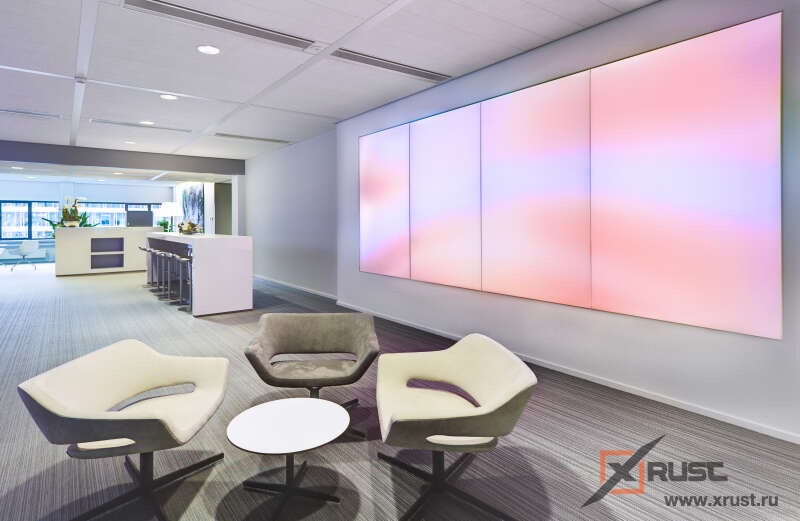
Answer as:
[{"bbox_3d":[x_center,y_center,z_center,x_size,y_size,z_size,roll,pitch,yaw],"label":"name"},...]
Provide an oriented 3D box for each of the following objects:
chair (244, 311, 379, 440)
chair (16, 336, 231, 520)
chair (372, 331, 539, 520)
[{"bbox_3d":[-0.884,1.020,4.793,1.418,1.143,1.130,-1,-9,-7],"label":"chair"},{"bbox_3d":[-2.244,1.260,3.972,1.397,1.426,1.640,-2,2,3],"label":"chair"},{"bbox_3d":[0.456,1.185,4.026,1.363,1.398,1.531,1,3,-7],"label":"chair"}]
